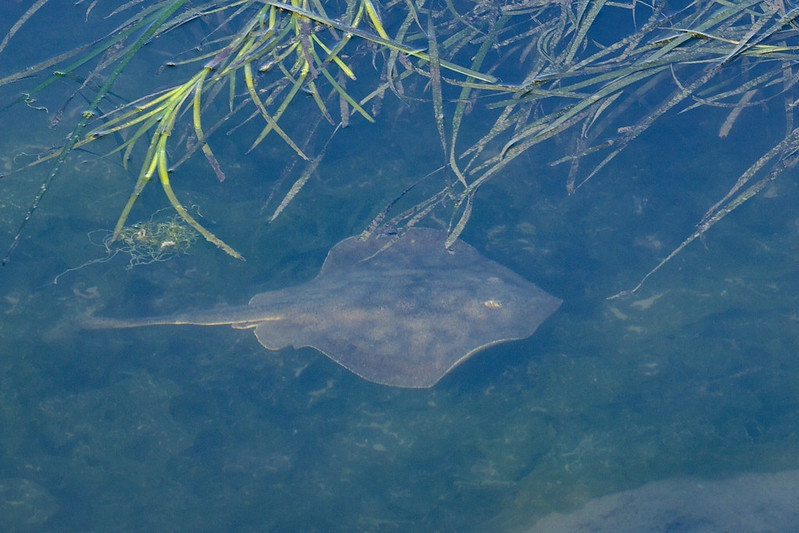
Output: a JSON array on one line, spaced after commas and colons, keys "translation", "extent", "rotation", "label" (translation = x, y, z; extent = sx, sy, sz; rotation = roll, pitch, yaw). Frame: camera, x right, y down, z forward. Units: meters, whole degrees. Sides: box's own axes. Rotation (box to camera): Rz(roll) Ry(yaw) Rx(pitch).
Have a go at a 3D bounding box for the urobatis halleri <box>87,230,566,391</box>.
[{"translation": [-0.055, 0.478, 9.177], "extent": [4.574, 0.319, 1.991], "rotation": [0, 48, -4], "label": "urobatis halleri"}]
